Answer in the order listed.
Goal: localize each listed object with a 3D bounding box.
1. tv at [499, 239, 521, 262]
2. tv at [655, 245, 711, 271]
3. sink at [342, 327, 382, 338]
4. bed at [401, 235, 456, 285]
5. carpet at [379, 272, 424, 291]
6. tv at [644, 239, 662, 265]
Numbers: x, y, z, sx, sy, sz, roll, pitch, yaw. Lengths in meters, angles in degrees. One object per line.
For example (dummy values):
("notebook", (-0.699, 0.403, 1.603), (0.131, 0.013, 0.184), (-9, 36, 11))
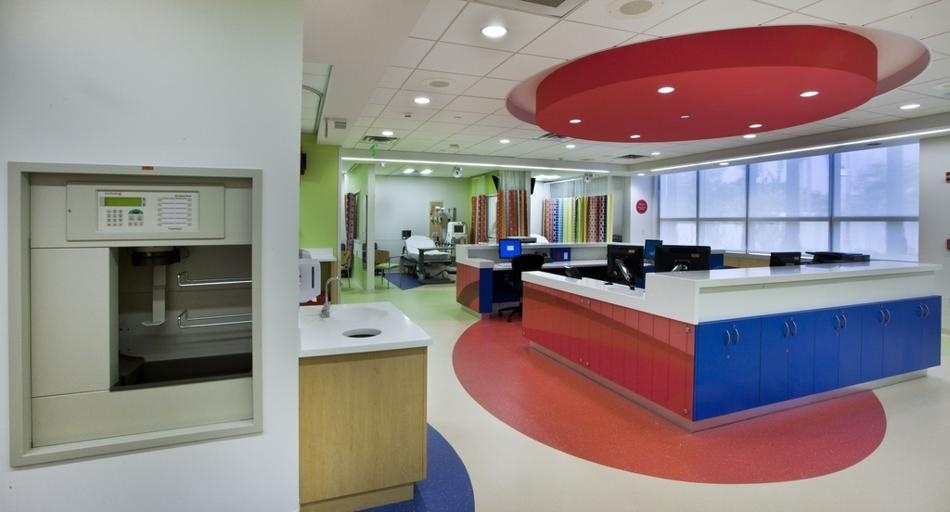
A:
("tv", (0.656, -0.097, 10.651), (0.491, 0.389, 0.236), (1, 2, -24))
("tv", (2.992, 0.035, 8.110), (0.560, 0.352, 0.552), (-4, 5, -21))
("sink", (-1.055, 0.738, 5.357), (0.323, 0.082, 0.328), (-5, 5, -35))
("bed", (-1.192, 0.133, 14.571), (0.957, 0.837, 1.519), (-1, 1, -23))
("carpet", (-1.801, 0.566, 13.967), (0.847, 0.206, 2.821), (-3, 5, -12))
("tv", (3.132, -0.051, 9.904), (0.177, 0.457, 0.455), (9, -6, -23))
